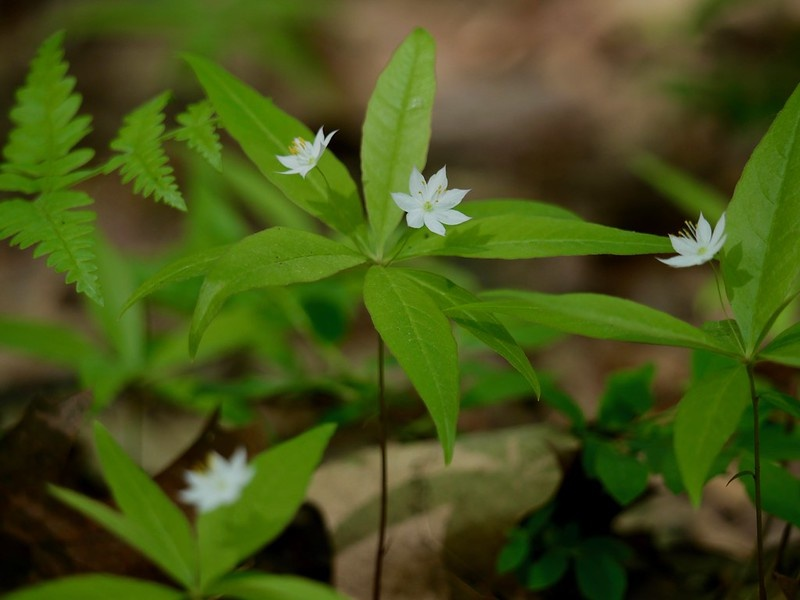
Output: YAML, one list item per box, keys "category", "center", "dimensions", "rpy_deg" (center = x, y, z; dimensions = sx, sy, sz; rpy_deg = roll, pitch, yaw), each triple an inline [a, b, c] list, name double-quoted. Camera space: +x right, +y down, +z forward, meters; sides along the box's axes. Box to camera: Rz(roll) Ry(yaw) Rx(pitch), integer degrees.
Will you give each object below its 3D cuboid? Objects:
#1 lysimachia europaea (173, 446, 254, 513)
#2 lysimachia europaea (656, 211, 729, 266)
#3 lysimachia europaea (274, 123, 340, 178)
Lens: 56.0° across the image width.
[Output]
- category: "lysimachia europaea"
  center: [-0.710, 0.671, 2.864]
  dimensions: [0.286, 0.215, 0.384]
  rpy_deg: [-13, 14, -17]
- category: "lysimachia europaea"
  center: [1.107, -0.215, 2.739]
  dimensions: [0.203, 0.096, 0.179]
  rpy_deg: [7, -20, -24]
- category: "lysimachia europaea"
  center: [-0.362, -0.585, 2.909]
  dimensions: [0.229, 0.124, 0.210]
  rpy_deg: [-19, 9, -7]
